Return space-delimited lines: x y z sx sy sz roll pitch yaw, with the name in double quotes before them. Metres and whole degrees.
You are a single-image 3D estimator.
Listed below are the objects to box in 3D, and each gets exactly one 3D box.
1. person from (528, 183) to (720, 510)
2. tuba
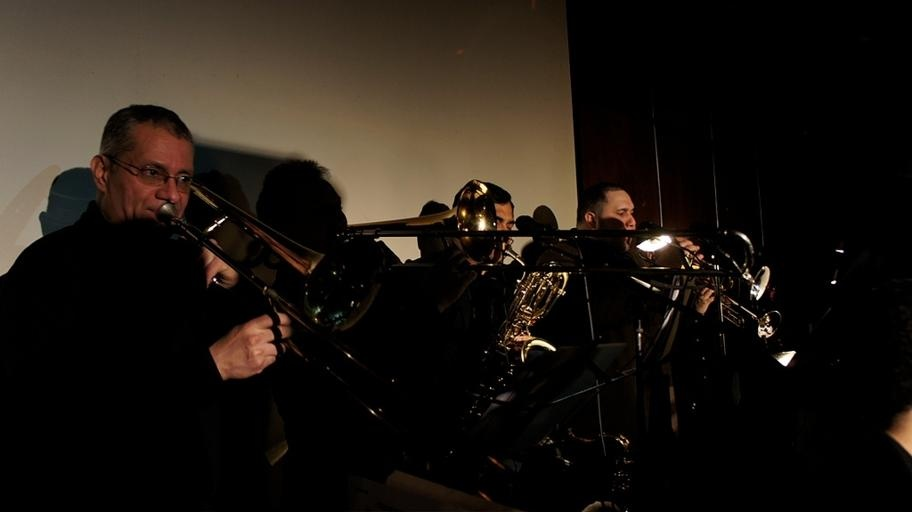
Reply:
"person" 1.189 0.347 4.911 1.169 2.359 1.109 -1 5 21
"tuba" 1.552 0.291 4.532 0.460 1.179 0.908 2 1 5
